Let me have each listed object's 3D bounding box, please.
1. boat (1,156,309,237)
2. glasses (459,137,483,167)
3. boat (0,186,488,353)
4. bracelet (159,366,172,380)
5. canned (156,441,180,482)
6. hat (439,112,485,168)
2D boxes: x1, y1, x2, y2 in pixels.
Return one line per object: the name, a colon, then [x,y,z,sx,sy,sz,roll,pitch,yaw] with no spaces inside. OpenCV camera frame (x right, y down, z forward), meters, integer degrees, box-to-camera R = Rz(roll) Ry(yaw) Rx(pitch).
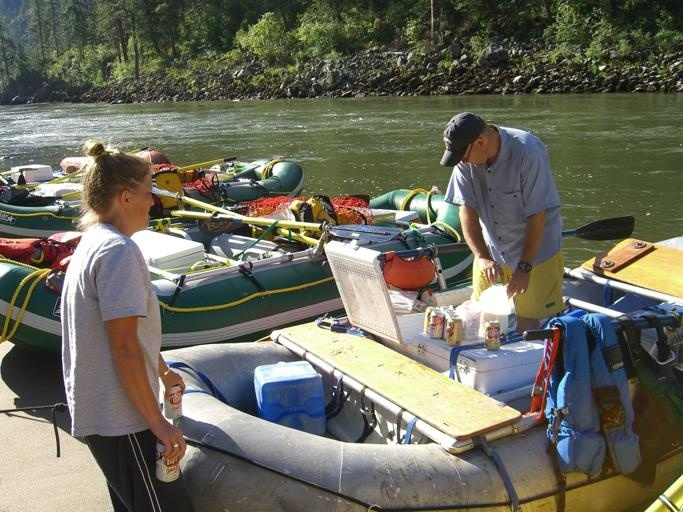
boat: [-2.711,-0.895,10.153,1.862,0.644,3.931,6,8,43]
glasses: [0.764,-0.619,3.827,0.036,0.124,0.122,28,-33,-28]
boat: [-0.880,0.194,6.022,3.426,0.650,1.741,-4,6,-40]
bracelet: [-0.806,0.519,2.899,0.022,0.064,0.028,25,-27,7]
canned: [-0.723,0.838,2.686,0.101,0.163,0.103,12,14,37]
hat: [0.720,-0.690,3.848,0.262,0.310,0.253,0,13,21]
